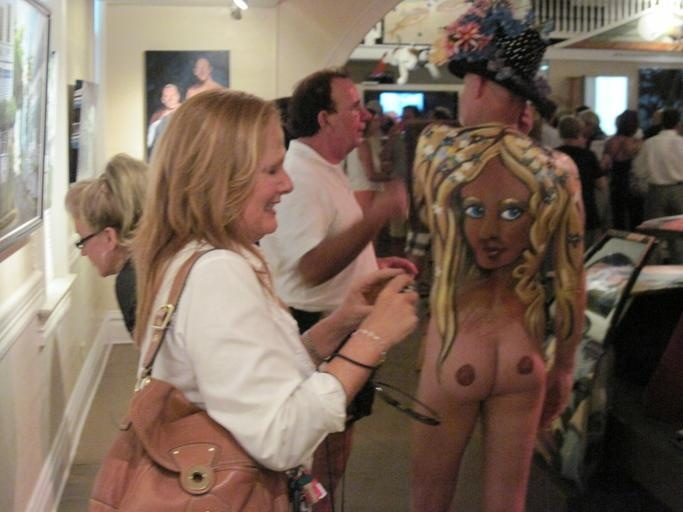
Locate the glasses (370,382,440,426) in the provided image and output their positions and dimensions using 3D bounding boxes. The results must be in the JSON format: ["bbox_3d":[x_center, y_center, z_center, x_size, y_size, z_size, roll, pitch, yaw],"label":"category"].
[{"bbox_3d":[0.237,0.546,2.428,0.209,0.048,0.160,34,-1,-12],"label":"glasses"}]
